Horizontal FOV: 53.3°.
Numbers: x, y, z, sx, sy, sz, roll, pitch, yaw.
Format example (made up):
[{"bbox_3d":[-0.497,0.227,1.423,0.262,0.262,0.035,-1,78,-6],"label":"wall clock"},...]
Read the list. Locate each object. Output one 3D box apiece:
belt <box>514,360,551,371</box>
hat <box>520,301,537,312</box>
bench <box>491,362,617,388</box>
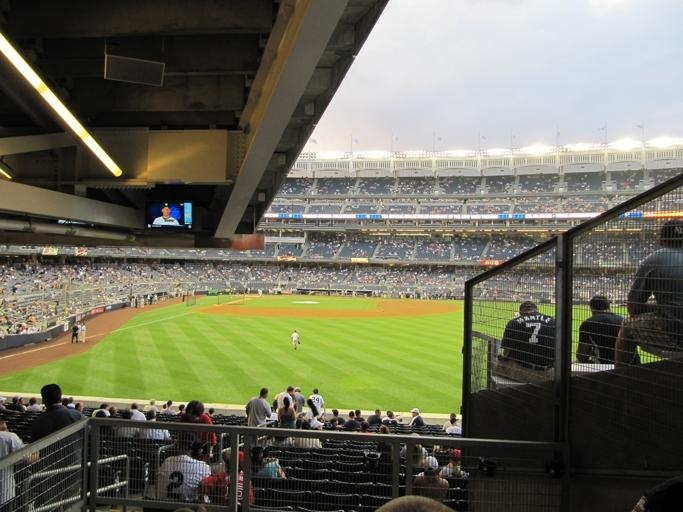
[{"bbox_3d":[1.933,1.101,6.847,0.015,0.053,0.413,5,0,-44],"label":"belt"},{"bbox_3d":[1.903,0.498,6.915,0.132,0.098,0.119,-1,2,-6],"label":"hat"},{"bbox_3d":[2.034,1.178,6.779,0.180,0.329,1.331,1,-3,-39],"label":"bench"}]
